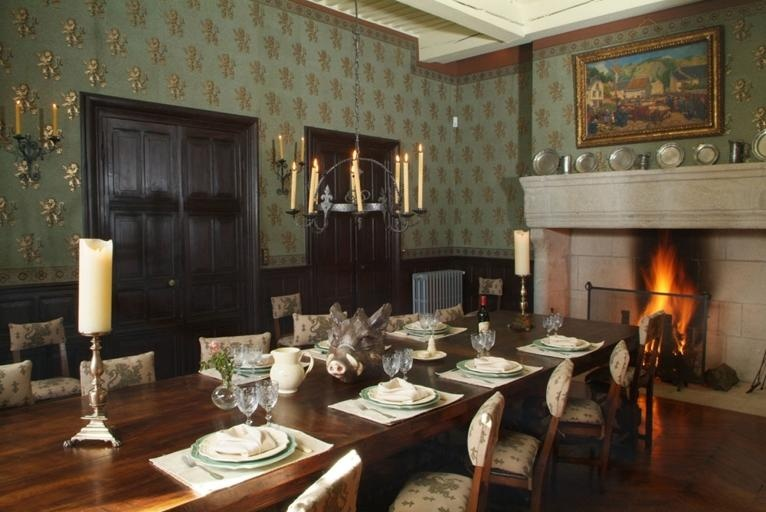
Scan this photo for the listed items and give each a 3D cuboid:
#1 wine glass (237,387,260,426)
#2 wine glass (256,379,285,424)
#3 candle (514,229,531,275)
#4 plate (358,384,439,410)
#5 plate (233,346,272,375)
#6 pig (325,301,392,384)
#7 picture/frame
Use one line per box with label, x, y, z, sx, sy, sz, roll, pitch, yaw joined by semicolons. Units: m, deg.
wine glass;-0.769;0.822;3.004;0.120;0.248;0.325;-4;2;-15
wine glass;-0.664;0.813;3.044;0.109;0.252;0.349;-4;2;-12
candle;1.235;-0.026;4.709;0.125;0.415;0.353;-2;3;12
plate;0.099;0.812;3.306;0.460;0.102;0.439;-2;3;-35
plate;-0.890;0.709;3.608;0.214;0.149;0.192;0;0;35
pig;-0.193;0.579;3.579;0.429;0.503;0.582;1;7;20
picture/frame;3.127;-1.970;6.314;1.562;1.252;0.071;-1;4;35
